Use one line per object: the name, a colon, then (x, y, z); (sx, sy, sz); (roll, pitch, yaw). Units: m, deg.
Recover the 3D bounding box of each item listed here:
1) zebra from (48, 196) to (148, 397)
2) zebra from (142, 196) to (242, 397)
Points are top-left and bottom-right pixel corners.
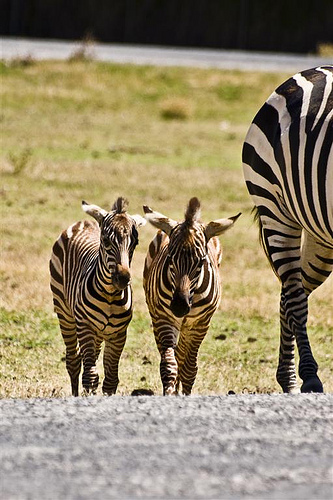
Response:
zebra: (-0.569, 0.404, 8.492); (0.684, 1.632, 1.635); (0, 1, -7)
zebra: (0.143, 0.430, 8.573); (0.567, 1.647, 2.165); (3, 3, -1)
